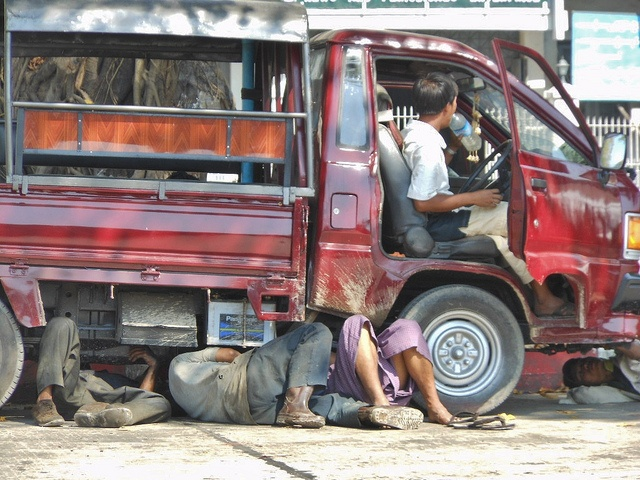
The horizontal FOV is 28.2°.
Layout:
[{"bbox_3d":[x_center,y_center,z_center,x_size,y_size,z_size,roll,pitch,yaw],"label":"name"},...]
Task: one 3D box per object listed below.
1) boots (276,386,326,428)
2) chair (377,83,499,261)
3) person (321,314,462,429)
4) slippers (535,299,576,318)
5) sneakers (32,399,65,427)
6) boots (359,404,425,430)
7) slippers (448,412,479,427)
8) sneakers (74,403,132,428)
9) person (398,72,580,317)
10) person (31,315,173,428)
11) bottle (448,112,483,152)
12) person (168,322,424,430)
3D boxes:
[{"bbox_3d":[-0.140,1.231,9.570,0.373,0.358,0.203,5,-20,28],"label":"boots"},{"bbox_3d":[1.080,-0.533,10.651,1.106,1.695,0.860,-6,19,-27],"label":"chair"},{"bbox_3d":[0.462,0.977,9.976,0.808,0.718,1.406,6,-6,-29],"label":"person"},{"bbox_3d":[1.898,0.551,10.290,0.356,0.094,0.126,-1,13,-1],"label":"slippers"},{"bbox_3d":[-2.048,1.299,9.561,0.119,0.128,0.303,3,-4,-35],"label":"sneakers"},{"bbox_3d":[0.533,1.293,9.543,0.514,0.183,0.221,4,0,-4],"label":"boots"},{"bbox_3d":[1.079,1.345,9.637,0.204,0.054,0.100,-14,32,7],"label":"slippers"},{"bbox_3d":[-1.619,1.290,9.510,0.345,0.149,0.189,-3,-2,4],"label":"sneakers"},{"bbox_3d":[1.292,-0.380,10.775,1.500,1.951,0.874,-1,21,-21],"label":"person"},{"bbox_3d":[-1.801,1.109,9.707,0.682,0.653,1.064,31,-22,-37],"label":"person"},{"bbox_3d":[1.251,-0.988,11.142,0.217,0.546,0.216,1,-24,0],"label":"bottle"},{"bbox_3d":[-0.137,1.102,9.965,1.992,0.828,0.777,0,-21,11],"label":"person"}]
